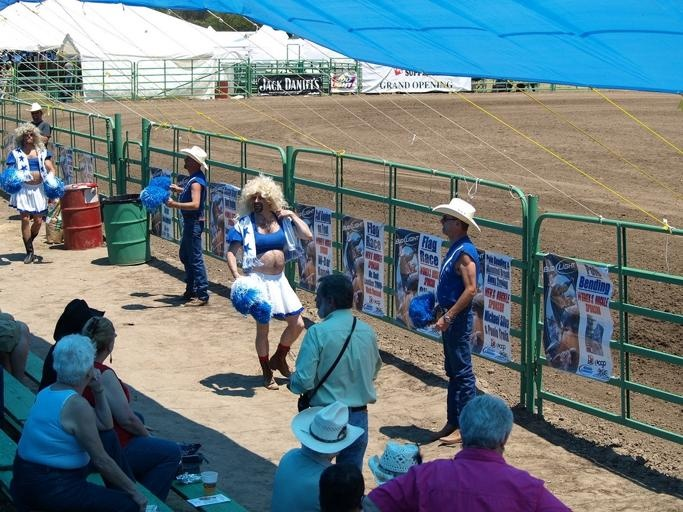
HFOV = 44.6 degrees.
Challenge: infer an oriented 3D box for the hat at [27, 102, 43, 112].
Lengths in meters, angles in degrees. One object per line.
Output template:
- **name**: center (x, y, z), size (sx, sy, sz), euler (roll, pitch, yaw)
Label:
- **hat**: center (-5.864, -2.804, 15.914), size (0.367, 0.169, 0.468), euler (3, 10, -11)

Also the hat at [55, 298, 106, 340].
- **hat**: center (-2.042, 0.503, 6.598), size (0.306, 0.376, 0.119), euler (8, -30, 26)

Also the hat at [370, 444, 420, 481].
- **hat**: center (0.337, 1.454, 6.016), size (0.407, 0.139, 0.344), euler (17, -18, 30)

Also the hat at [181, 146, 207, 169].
- **hat**: center (-1.949, -1.296, 11.189), size (0.250, 0.300, 0.369), euler (-1, 10, -14)

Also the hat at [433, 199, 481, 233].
- **hat**: center (1.096, -0.401, 7.945), size (0.385, 0.289, 0.523), euler (2, 9, 6)

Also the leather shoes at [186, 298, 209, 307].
- **leather shoes**: center (-2.045, 0.665, 11.741), size (0.196, 0.068, 0.135), euler (-1, 4, 6)
